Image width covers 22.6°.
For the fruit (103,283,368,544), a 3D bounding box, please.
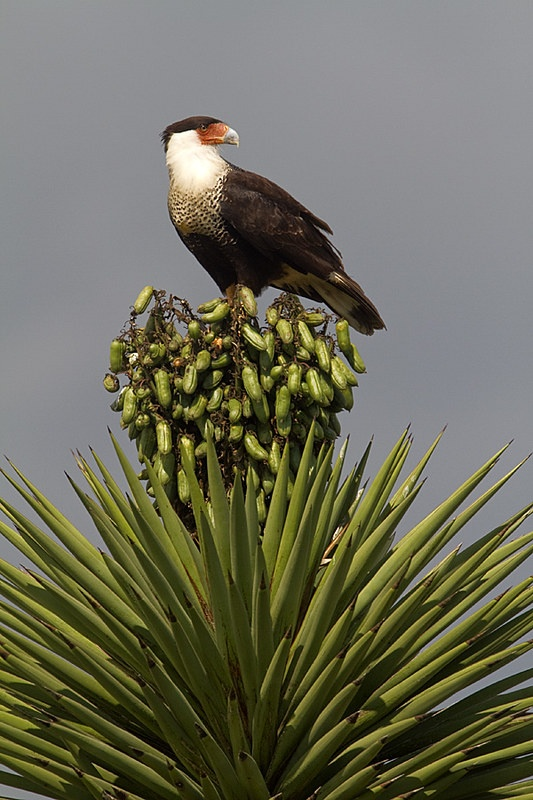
[{"bbox_3d":[-0.121,-0.042,5.169,1.207,0.849,1.204,1,37,-3],"label":"fruit"}]
